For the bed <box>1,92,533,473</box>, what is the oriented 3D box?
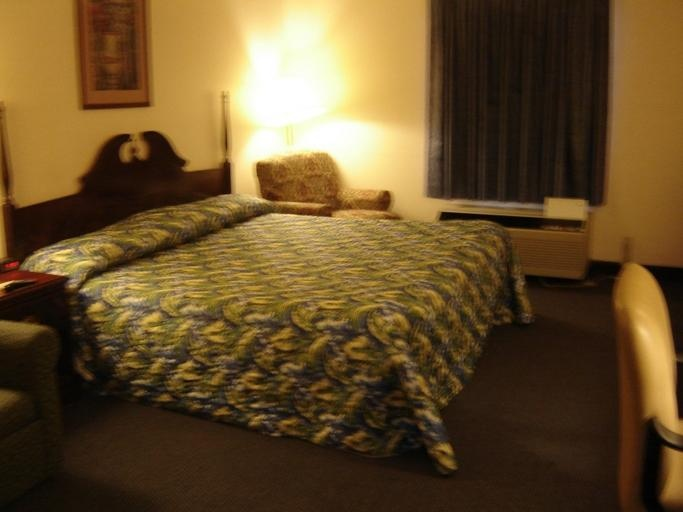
[{"bbox_3d":[-0.302,0.238,3.560,2.457,0.991,2.043,5,14,19],"label":"bed"}]
